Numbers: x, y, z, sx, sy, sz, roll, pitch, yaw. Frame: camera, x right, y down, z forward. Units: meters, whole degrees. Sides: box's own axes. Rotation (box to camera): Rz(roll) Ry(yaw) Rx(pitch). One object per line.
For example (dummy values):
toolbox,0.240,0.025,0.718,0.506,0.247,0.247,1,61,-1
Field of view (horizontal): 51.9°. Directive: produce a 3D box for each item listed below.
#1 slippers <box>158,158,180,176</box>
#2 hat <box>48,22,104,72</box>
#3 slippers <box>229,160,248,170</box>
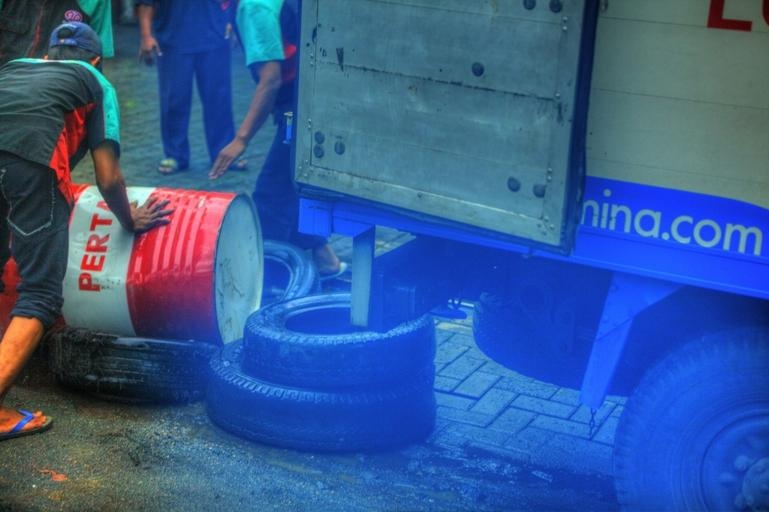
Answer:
slippers,-2.343,-0.987,8.654,0.205,0.174,0.155,-14,29,-27
hat,-1.972,-1.383,5.352,0.355,0.293,0.613,7,8,-5
slippers,-1.614,-1.022,8.824,0.248,0.082,0.246,-23,21,-41
